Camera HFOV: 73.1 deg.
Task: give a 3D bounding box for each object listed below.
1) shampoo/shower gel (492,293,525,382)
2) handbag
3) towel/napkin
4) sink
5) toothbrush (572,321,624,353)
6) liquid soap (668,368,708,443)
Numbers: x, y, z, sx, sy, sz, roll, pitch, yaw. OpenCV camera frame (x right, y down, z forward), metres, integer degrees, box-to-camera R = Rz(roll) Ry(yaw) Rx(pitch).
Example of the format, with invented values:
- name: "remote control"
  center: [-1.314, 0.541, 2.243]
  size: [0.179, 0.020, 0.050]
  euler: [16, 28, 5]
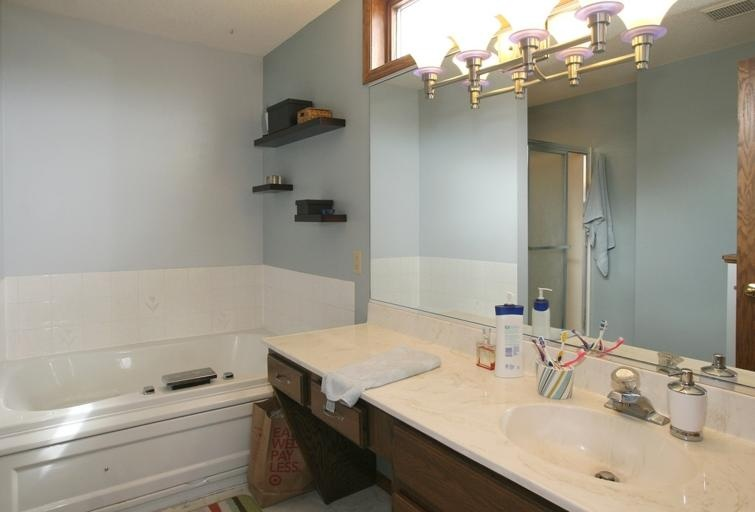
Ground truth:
- name: "shampoo/shower gel"
  center: [0.593, 0.399, 2.357]
  size: [0.088, 0.341, 0.116]
  euler: [4, 6, -22]
- name: "handbag"
  center: [-0.600, 1.206, 3.261]
  size: [0.479, 0.579, 0.360]
  euler: [6, 4, 8]
- name: "towel/napkin"
  center: [0.901, -0.149, 2.220]
  size: [0.220, 0.485, 0.119]
  euler: [-1, 1, -37]
- name: "sink"
  center: [0.902, 0.713, 2.048]
  size: [0.598, 0.249, 0.480]
  euler: [-1, 3, -40]
- name: "toothbrush"
  center: [0.966, 0.390, 2.263]
  size: [0.136, 0.047, 0.143]
  euler: [1, -37, 51]
- name: "liquid soap"
  center: [1.156, 0.560, 1.957]
  size: [0.147, 0.257, 0.129]
  euler: [1, -1, -37]
